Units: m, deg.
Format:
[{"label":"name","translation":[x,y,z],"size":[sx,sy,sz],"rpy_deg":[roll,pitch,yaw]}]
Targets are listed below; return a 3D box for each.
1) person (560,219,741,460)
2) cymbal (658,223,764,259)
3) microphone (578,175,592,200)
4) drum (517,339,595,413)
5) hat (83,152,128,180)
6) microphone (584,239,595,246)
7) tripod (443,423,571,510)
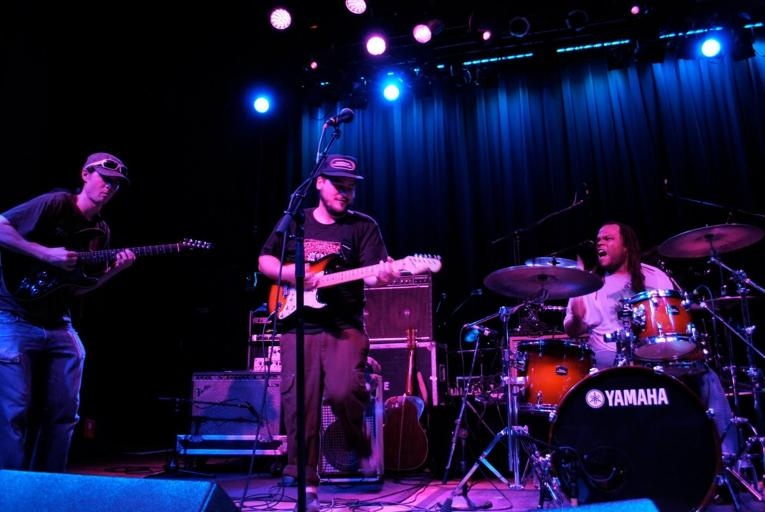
[{"label":"person","translation":[2.569,0.804,6.757],"size":[1.174,2.419,1.292],"rpy_deg":[-10,-3,12]},{"label":"cymbal","translation":[3.331,-0.143,6.745],"size":[0.984,0.296,0.587],"rpy_deg":[-1,-9,0]},{"label":"microphone","translation":[2.753,-0.924,9.046],"size":[0.173,0.303,0.103],"rpy_deg":[-3,-9,16]},{"label":"drum","translation":[1.709,1.077,6.501],"size":[0.717,0.565,0.731],"rpy_deg":[5,-24,2]},{"label":"hat","translation":[-2.702,-0.882,6.341],"size":[0.363,0.191,0.260],"rpy_deg":[-4,-17,37]},{"label":"microphone","translation":[2.700,-0.189,8.642],"size":[0.105,0.047,0.121],"rpy_deg":[2,-13,-3]},{"label":"tripod","translation":[1.093,1.949,6.015],"size":[0.819,0.412,0.839],"rpy_deg":[1,-16,14]}]
